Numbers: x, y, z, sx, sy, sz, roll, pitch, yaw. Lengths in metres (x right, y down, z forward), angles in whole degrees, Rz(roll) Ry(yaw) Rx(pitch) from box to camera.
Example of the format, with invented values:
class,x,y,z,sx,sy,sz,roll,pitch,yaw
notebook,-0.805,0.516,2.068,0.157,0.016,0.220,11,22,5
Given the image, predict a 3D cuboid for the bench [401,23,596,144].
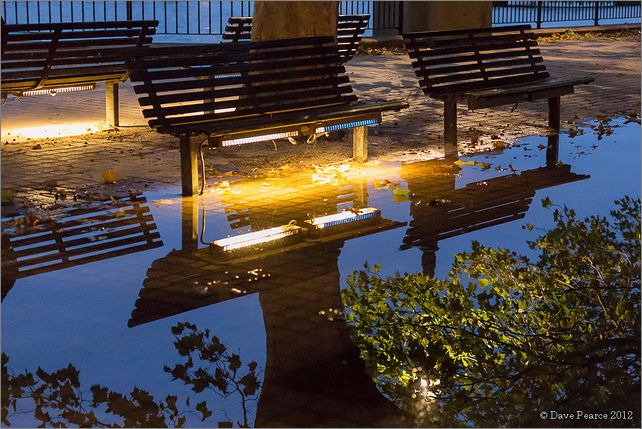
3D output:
class,x,y,z,sx,sy,sz,roll,pitch,yaw
bench,2.432,-1.870,9.394,1.318,1.661,2.599,8,16,44
